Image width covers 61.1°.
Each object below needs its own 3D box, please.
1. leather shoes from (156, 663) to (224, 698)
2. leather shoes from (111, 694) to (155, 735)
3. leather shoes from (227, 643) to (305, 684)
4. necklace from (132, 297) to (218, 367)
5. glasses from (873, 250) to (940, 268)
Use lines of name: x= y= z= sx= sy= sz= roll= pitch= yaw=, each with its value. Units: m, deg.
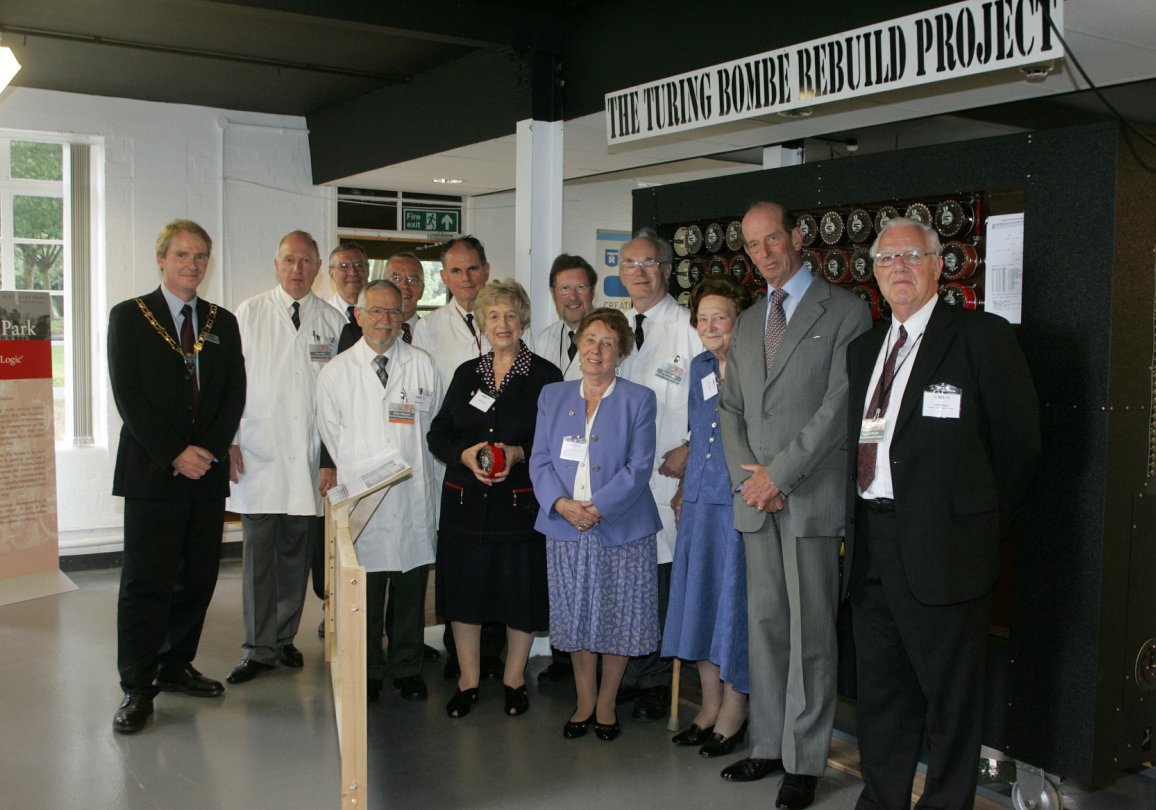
leather shoes: x=-2.251 y=1.591 z=5.738 sx=0.406 sy=0.181 sz=0.158 roll=2 pitch=3 yaw=0
leather shoes: x=-2.430 y=1.675 z=5.356 sx=0.113 sy=0.131 sz=0.281 roll=1 pitch=0 yaw=-1
leather shoes: x=-1.949 y=1.603 z=6.108 sx=0.454 sy=0.195 sz=0.148 roll=-2 pitch=3 yaw=-43
necklace: x=-2.202 y=-0.387 z=5.480 sx=0.125 sy=0.359 sz=0.500 roll=-20 pitch=-12 yaw=41
glasses: x=1.396 y=-0.626 z=4.188 sx=0.248 sy=0.066 sz=0.091 roll=3 pitch=8 yaw=20
